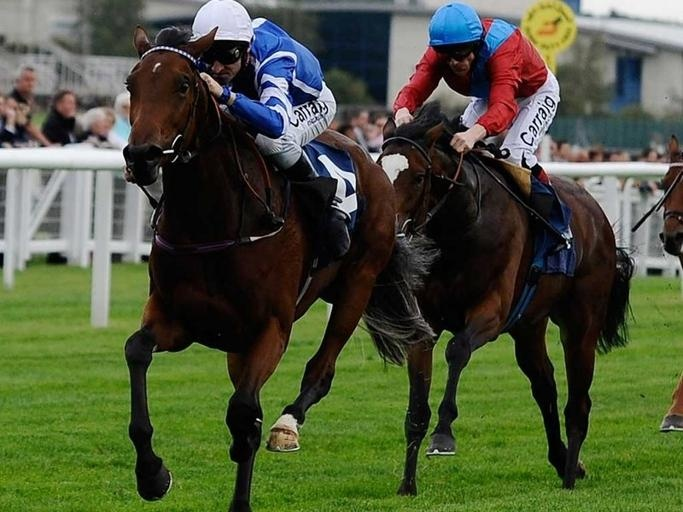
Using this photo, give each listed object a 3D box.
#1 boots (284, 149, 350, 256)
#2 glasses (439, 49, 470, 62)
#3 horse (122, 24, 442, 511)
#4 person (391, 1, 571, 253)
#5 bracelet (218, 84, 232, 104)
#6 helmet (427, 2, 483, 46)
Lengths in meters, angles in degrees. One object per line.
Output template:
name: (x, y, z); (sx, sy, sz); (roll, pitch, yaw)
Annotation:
boots: (-0.078, -0.238, 6.670); (0.220, 0.604, 0.270); (-11, 15, 24)
glasses: (0.633, -1.119, 7.385); (0.093, 0.044, 0.110); (-3, 21, 23)
horse: (-0.410, 0.091, 6.546); (0.774, 2.375, 1.711); (13, 17, 34)
person: (0.770, -0.900, 8.013); (0.911, 1.245, 1.331); (4, 4, 42)
bracelet: (-0.541, -0.750, 6.203); (0.079, 0.087, 0.100); (-7, -7, 0)
helmet: (0.641, -1.272, 7.419); (0.298, 0.246, 0.231); (4, 14, 4)
